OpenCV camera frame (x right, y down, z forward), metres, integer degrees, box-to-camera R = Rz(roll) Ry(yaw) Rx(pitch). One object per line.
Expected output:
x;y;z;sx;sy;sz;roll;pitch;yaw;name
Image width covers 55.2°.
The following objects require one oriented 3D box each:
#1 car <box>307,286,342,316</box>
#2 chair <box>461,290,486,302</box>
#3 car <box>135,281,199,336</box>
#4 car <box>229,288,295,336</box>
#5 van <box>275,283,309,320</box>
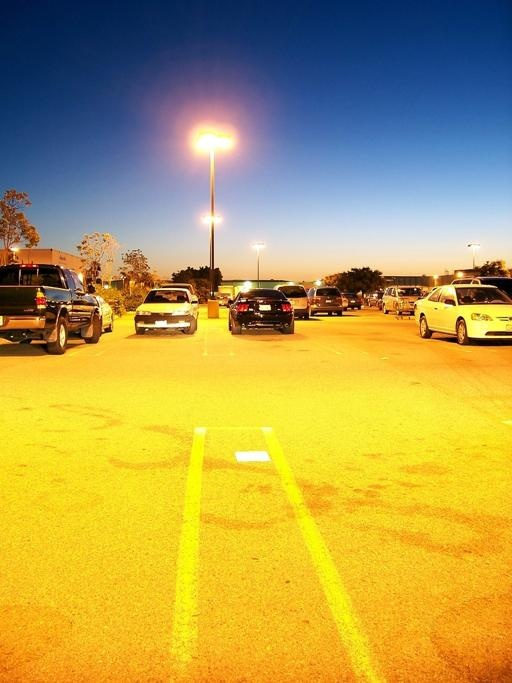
5.669;-3.378;40.653;1.799;1.863;3.496;0;13;0;car
8.151;-1.688;18.410;0.582;0.503;1.045;2;5;6;chair
-3.936;-1.505;22.249;1.529;1.544;3.240;-1;1;0;car
0.277;-1.368;22.120;2.750;2.048;1.302;0;-2;3;car
2.849;-2.879;33.955;1.481;1.645;2.969;0;14;0;van
